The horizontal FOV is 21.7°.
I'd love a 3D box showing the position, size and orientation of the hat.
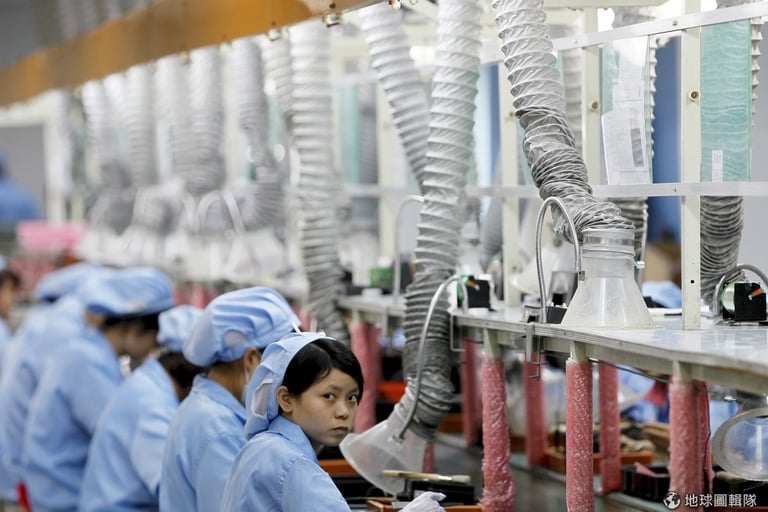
[{"bbox_3d":[-0.953,0.468,9.996,1.133,0.402,0.731,8,0,-11],"label":"hat"}]
